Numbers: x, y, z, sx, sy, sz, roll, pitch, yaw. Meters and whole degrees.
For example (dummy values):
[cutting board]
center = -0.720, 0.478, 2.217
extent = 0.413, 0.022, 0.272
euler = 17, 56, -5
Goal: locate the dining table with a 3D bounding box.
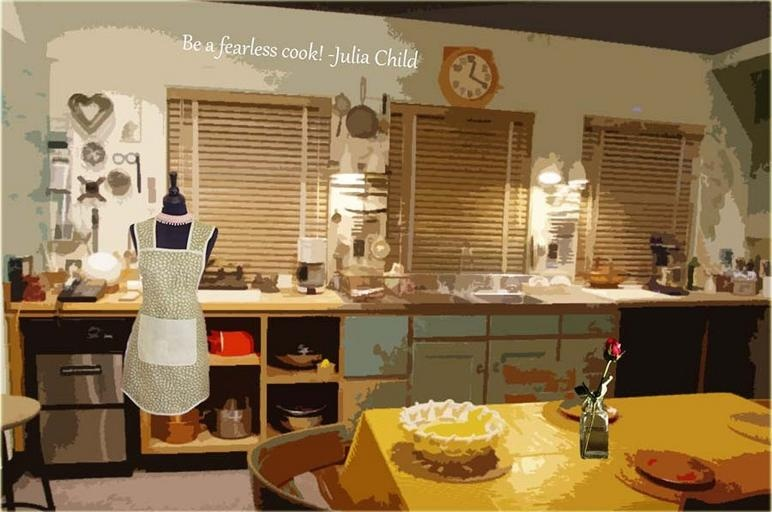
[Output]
[dining table]
center = 0.983, 1.005, 3.040
extent = 1.392, 0.304, 0.796
euler = 0, 1, -5

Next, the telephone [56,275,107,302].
[telephone]
center = -2.083, 0.238, 4.210
extent = 0.240, 0.147, 0.247
euler = 1, 1, -6

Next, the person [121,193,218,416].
[person]
center = -1.411, 0.297, 3.980
extent = 0.593, 1.455, 0.226
euler = 0, 2, -12

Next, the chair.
[chair]
center = -0.430, 1.055, 3.067
extent = 0.482, 0.168, 0.363
euler = 1, 4, -27
